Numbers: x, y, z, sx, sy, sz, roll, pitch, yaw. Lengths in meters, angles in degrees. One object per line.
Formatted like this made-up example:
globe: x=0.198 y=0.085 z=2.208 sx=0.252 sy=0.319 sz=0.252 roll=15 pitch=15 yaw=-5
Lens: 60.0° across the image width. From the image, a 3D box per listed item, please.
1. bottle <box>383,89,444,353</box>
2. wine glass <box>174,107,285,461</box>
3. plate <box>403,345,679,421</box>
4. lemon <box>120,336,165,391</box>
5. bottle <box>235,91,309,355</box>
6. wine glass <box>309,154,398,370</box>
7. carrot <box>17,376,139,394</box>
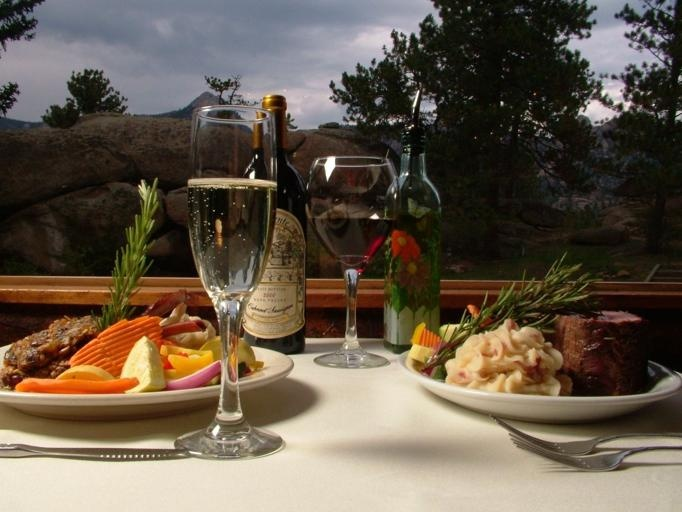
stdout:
bottle: x=0.125 y=-0.069 z=1.184 sx=0.124 sy=0.490 sz=0.105 roll=5 pitch=4 yaw=-1
wine glass: x=-0.137 y=0.039 z=0.718 sx=0.145 sy=0.346 sz=0.143 roll=0 pitch=0 yaw=34
plate: x=0.280 y=0.171 z=0.859 sx=0.304 sy=0.055 sz=0.216 roll=1 pitch=0 yaw=-5
lemon: x=-0.257 y=0.136 z=0.777 sx=0.052 sy=0.061 sz=0.072 roll=-1 pitch=4 yaw=-26
bottle: x=-0.101 y=-0.055 z=1.098 sx=0.154 sy=0.430 sz=0.146 roll=0 pitch=2 yaw=0
wine glass: x=0.022 y=0.012 z=1.070 sx=0.178 sy=0.348 sz=0.169 roll=0 pitch=0 yaw=-39
carrot: x=-0.329 y=0.164 z=0.753 sx=0.137 sy=0.022 sz=0.019 roll=1 pitch=-12 yaw=7
